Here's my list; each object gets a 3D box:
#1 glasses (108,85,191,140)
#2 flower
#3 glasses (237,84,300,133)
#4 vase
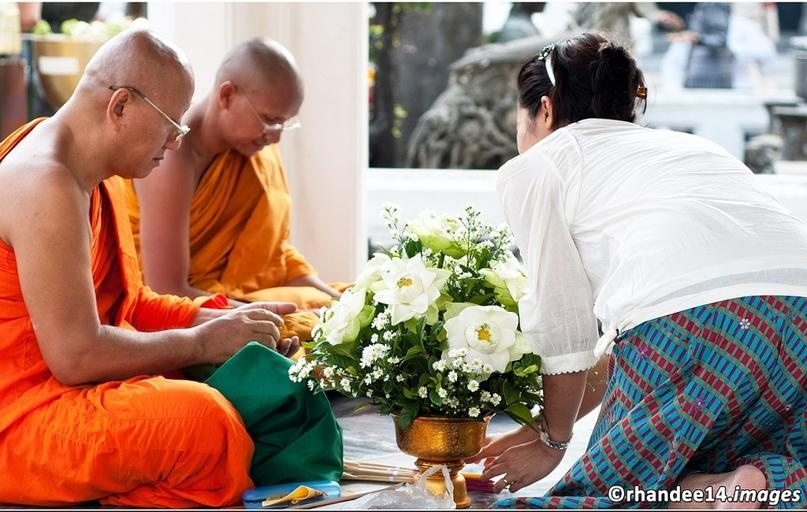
[{"bbox_3d":[-0.834,-0.485,3.094,0.186,0.052,0.181,35,-5,31],"label":"glasses"},{"bbox_3d":[0.017,0.266,3.163,0.773,0.524,0.755,11,-19,-32],"label":"flower"},{"bbox_3d":[-0.555,-0.598,3.824,0.052,0.185,0.183,-32,-7,22],"label":"glasses"},{"bbox_3d":[0.125,0.628,3.010,0.314,0.244,0.313,-4,-4,27],"label":"vase"}]
